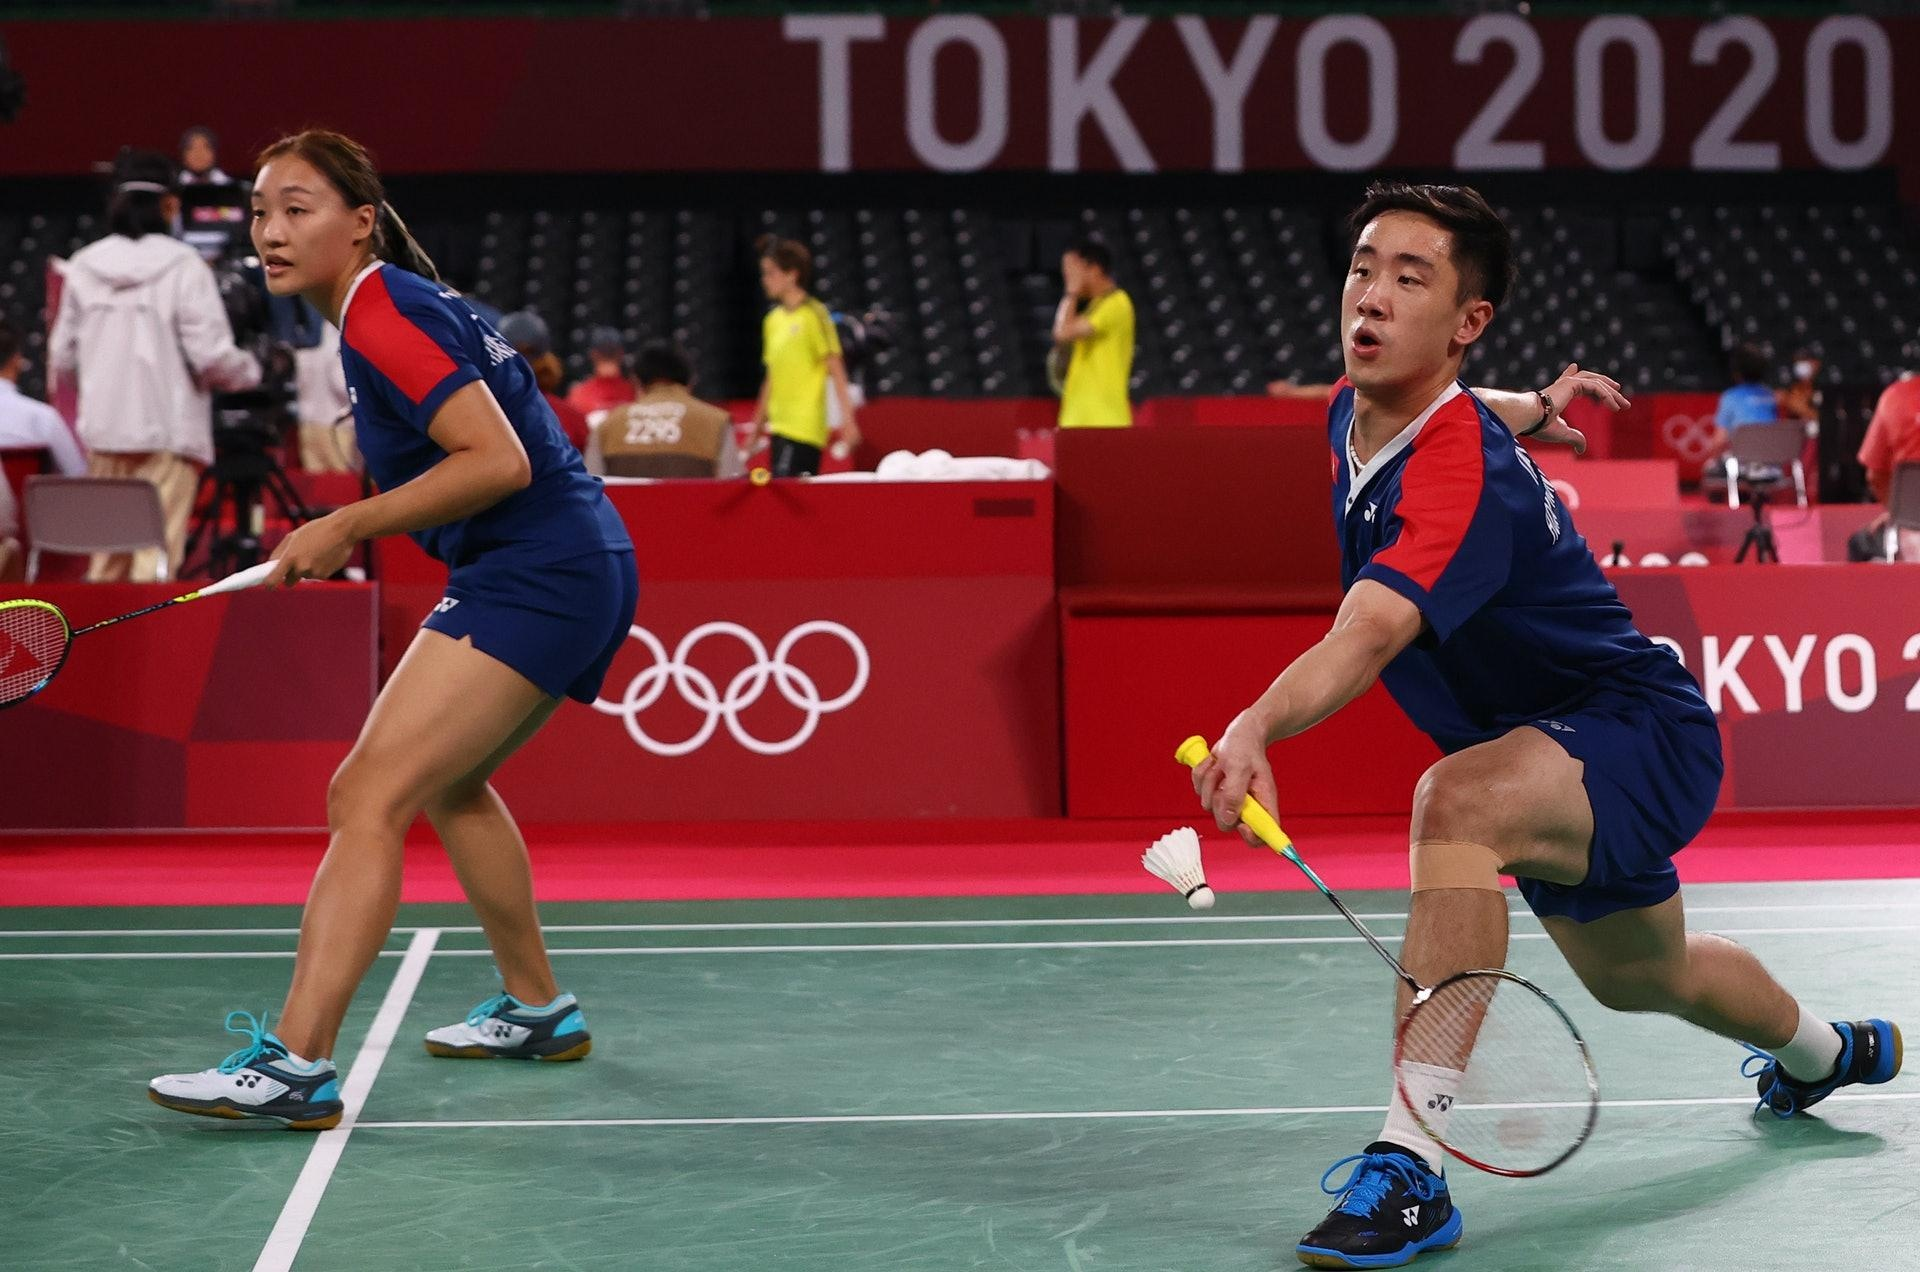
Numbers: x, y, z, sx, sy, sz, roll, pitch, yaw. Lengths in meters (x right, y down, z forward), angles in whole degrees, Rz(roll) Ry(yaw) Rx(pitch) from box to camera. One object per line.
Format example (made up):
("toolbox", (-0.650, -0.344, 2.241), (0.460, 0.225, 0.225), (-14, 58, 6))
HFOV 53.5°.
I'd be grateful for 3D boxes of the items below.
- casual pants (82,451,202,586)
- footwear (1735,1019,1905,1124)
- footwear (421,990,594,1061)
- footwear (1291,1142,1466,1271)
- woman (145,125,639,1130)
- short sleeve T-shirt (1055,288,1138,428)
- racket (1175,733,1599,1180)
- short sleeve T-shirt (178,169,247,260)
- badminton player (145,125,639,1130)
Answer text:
("casual pants", (-4.360, -0.624, 10.018), (0.534, 0.615, 0.936), (4, -27, -27))
("footwear", (2.325, 1.233, 5.257), (0.349, 0.154, 0.133), (-26, -8, -11))
("footwear", (-1.353, 1.168, 5.788), (0.497, 0.242, 0.200), (4, -8, -1))
("footwear", (1.002, 1.364, 4.531), (0.449, 0.232, 0.198), (6, -11, -43))
("woman", (-1.502, -0.029, 5.315), (1.211, 2.699, 0.600), (-5, 11, -24))
("short sleeve T-shirt", (0.906, -1.811, 12.279), (0.462, 0.896, 0.593), (3, 16, 2))
("racket", (1.134, 0.814, 4.699), (0.424, 0.107, 1.209), (-4, 39, -15))
("short sleeve T-shirt", (-4.492, -2.650, 11.362), (0.427, 0.342, 0.570), (1, -35, -22))
("badminton player", (-1.502, -0.029, 5.316), (1.211, 2.699, 0.605), (-5, 11, -24))
